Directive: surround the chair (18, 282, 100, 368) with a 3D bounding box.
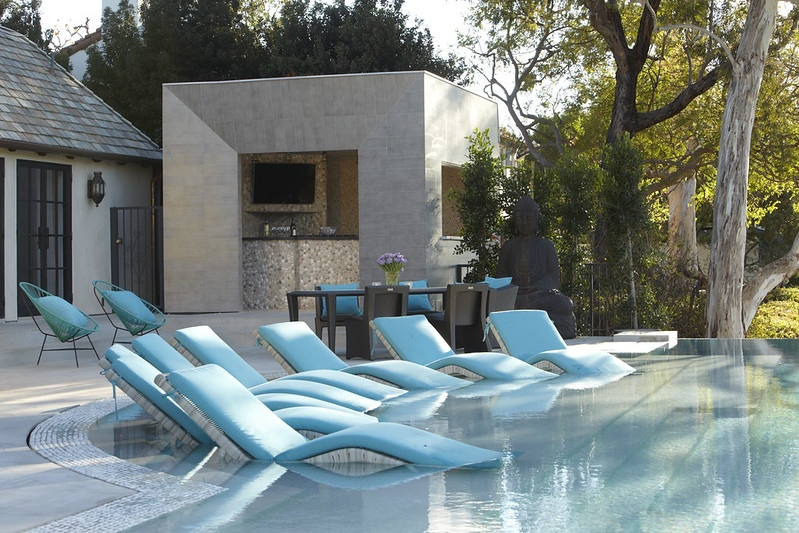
[{"bbox_3d":[-6.161,1.025,14.227,1.330,1.759,1.287,-2,-2,-4],"label":"chair"}]

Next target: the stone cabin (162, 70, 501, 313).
[{"bbox_3d":[-1.128,-1.743,19.503,5.838,4.968,6.148,-2,-4,26],"label":"stone cabin"}]

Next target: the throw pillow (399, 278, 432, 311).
[{"bbox_3d":[0.366,0.504,14.589,0.545,0.596,0.214,-1,-28,-2],"label":"throw pillow"}]

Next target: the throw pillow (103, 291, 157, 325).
[{"bbox_3d":[-4.500,0.619,13.416,0.777,0.530,0.788,3,11,18],"label":"throw pillow"}]

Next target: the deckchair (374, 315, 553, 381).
[{"bbox_3d":[0.847,1.147,11.092,1.901,0.780,1.087,-2,-3,31],"label":"deckchair"}]

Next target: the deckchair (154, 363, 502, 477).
[{"bbox_3d":[-0.674,1.268,8.451,3.207,1.108,1.412,-2,-3,12],"label":"deckchair"}]

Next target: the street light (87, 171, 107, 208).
[{"bbox_3d":[-6.829,-1.722,18.066,0.382,0.728,0.384,-1,8,-20],"label":"street light"}]

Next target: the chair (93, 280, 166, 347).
[{"bbox_3d":[-5.041,0.832,14.724,1.168,0.915,1.021,7,4,-20],"label":"chair"}]

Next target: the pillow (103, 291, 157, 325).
[{"bbox_3d":[-4.493,0.621,13.404,0.844,0.530,0.825,1,11,8],"label":"pillow"}]

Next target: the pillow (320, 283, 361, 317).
[{"bbox_3d":[-0.996,0.575,14.107,0.510,0.501,0.198,0,-10,-17],"label":"pillow"}]

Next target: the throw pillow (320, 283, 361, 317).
[{"bbox_3d":[-0.996,0.575,14.107,0.510,0.501,0.198,0,-10,-17],"label":"throw pillow"}]

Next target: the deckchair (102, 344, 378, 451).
[{"bbox_3d":[-2.175,1.283,8.792,1.881,0.766,1.521,1,-3,11],"label":"deckchair"}]

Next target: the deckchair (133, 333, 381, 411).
[{"bbox_3d":[-1.748,1.196,9.701,1.802,0.619,1.416,4,-2,6],"label":"deckchair"}]

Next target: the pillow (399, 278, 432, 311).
[{"bbox_3d":[0.366,0.504,14.589,0.545,0.596,0.214,-1,-28,-2],"label":"pillow"}]

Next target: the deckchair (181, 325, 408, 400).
[{"bbox_3d":[-1.378,1.135,10.272,3.139,1.238,1.099,1,0,9],"label":"deckchair"}]
